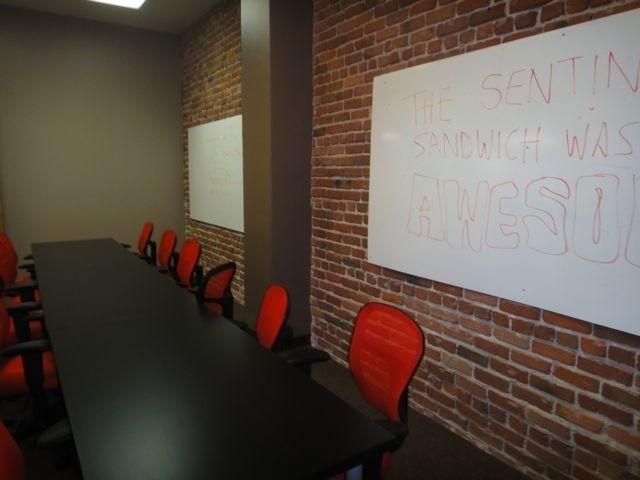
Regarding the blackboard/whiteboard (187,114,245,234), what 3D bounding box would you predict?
[{"bbox_3d":[-1.273,-0.854,5.380,0.031,1.183,1.493,-3,6,-36],"label":"blackboard/whiteboard"}]
